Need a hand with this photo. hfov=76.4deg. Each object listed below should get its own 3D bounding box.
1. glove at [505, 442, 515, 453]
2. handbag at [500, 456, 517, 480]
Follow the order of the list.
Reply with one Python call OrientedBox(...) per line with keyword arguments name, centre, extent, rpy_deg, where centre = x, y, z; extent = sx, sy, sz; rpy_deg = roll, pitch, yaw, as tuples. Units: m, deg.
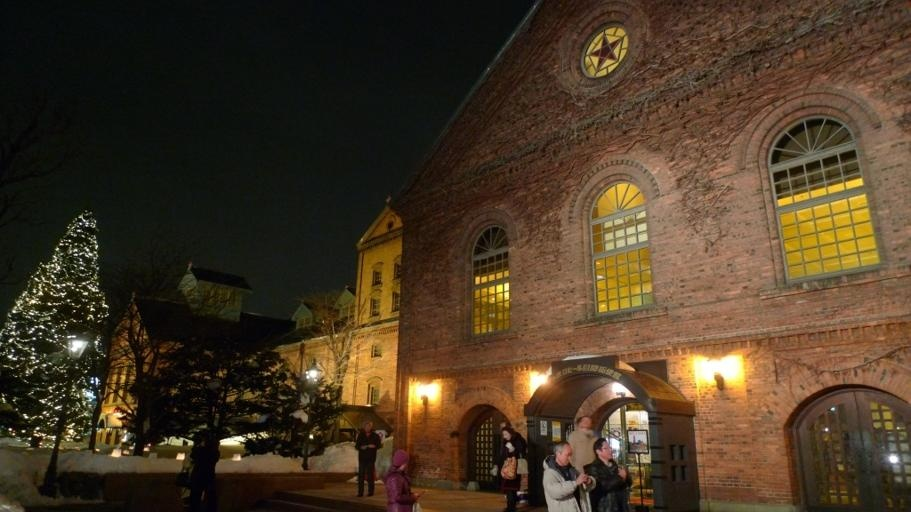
OrientedBox(name="glove", centre=(1.839, 6.536, 19.619), extent=(0.272, 0.331, 0.139), rpy_deg=(17, -30, -28))
OrientedBox(name="handbag", centre=(1.802, 7.139, 19.284), extent=(0.555, 0.760, 0.394), rpy_deg=(2, -27, -1))
